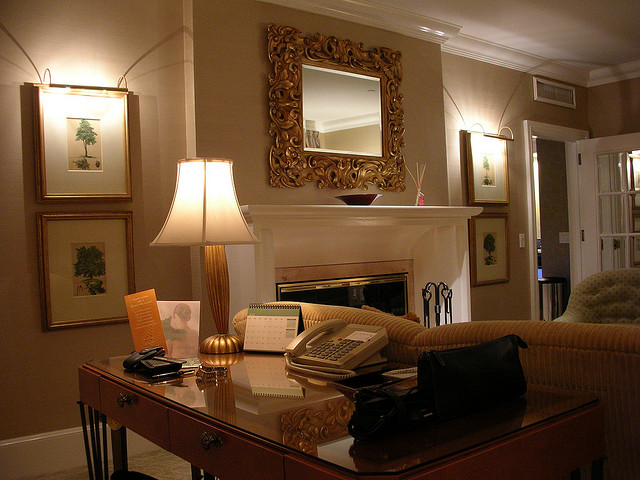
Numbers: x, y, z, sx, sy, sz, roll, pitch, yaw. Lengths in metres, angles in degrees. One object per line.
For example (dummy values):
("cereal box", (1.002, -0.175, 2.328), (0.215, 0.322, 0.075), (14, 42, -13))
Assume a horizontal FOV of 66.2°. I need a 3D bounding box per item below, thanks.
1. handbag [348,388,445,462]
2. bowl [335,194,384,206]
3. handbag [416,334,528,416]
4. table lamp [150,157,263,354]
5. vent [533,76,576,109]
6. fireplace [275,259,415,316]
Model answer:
("handbag", (0.182, 0.411, 1.111), (0.263, 0.101, 0.145), (-6, 7, -16))
("bowl", (0.286, -0.304, 3.777), (0.251, 0.090, 0.264), (-4, 7, 0))
("handbag", (0.402, 0.344, 1.281), (0.280, 0.169, 0.105), (-6, 1, -18))
("table lamp", (-0.474, 0.076, 2.152), (0.477, 0.831, 0.508), (-4, 4, -24))
("vent", (2.704, -1.677, 5.617), (0.837, 0.340, 0.115), (-9, 9, -37))
("fireplace", (0.198, 0.332, 3.957), (1.270, 0.443, 0.296), (1, 3, -38))
